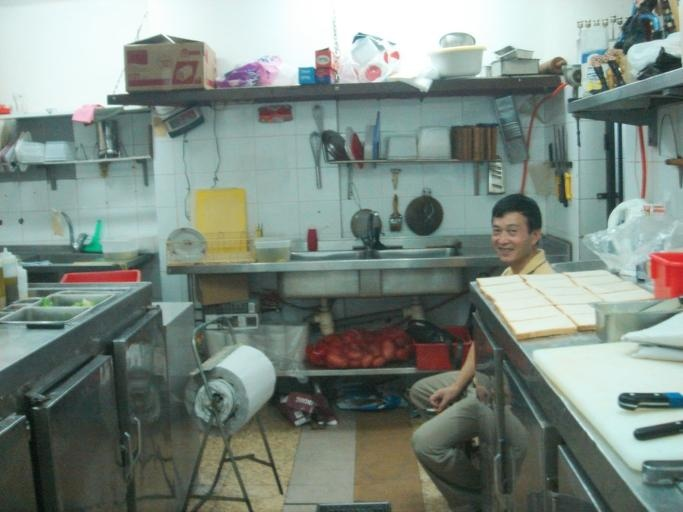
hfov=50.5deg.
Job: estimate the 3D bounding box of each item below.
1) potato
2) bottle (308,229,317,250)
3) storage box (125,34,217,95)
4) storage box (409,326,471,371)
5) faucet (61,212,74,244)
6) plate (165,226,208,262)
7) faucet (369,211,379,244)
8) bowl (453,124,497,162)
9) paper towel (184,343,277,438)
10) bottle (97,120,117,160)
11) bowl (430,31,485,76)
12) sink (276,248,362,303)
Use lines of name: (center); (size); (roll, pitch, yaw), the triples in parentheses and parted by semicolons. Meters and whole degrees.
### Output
potato: (0.133, 0.597, 4.618); (0.427, 0.133, 0.295); (-4, 2, 0)
bottle: (-0.204, -0.113, 5.037); (0.077, 0.162, 0.069); (-6, 9, -7)
storage box: (-1.111, -1.233, 4.732); (0.545, 0.325, 0.552); (-2, 9, 5)
storage box: (0.627, 0.586, 4.541); (0.263, 0.173, 0.268); (-1, 3, 4)
faucet: (-2.042, -0.207, 5.416); (0.077, 0.255, 0.139); (-12, 11, -40)
plate: (-0.977, -0.067, 4.560); (0.252, 0.223, 0.127); (-3, 9, 8)
faucet: (0.224, -0.174, 4.809); (0.059, 0.224, 0.151); (-3, 9, 8)
bowl: (0.907, -0.760, 4.897); (0.366, 0.225, 0.236); (-6, 11, -14)
paper towel: (-0.547, 0.669, 3.570); (0.368, 0.366, 0.422); (-5, 5, 22)
bottle: (-1.691, -0.840, 5.204); (0.140, 0.269, 0.071); (-8, 9, -19)
bowl: (0.735, -1.209, 4.526); (0.286, 0.226, 0.291); (-3, 0, 0)
sink: (-0.141, 0.161, 4.764); (0.439, 0.237, 0.328); (0, 4, 2)
